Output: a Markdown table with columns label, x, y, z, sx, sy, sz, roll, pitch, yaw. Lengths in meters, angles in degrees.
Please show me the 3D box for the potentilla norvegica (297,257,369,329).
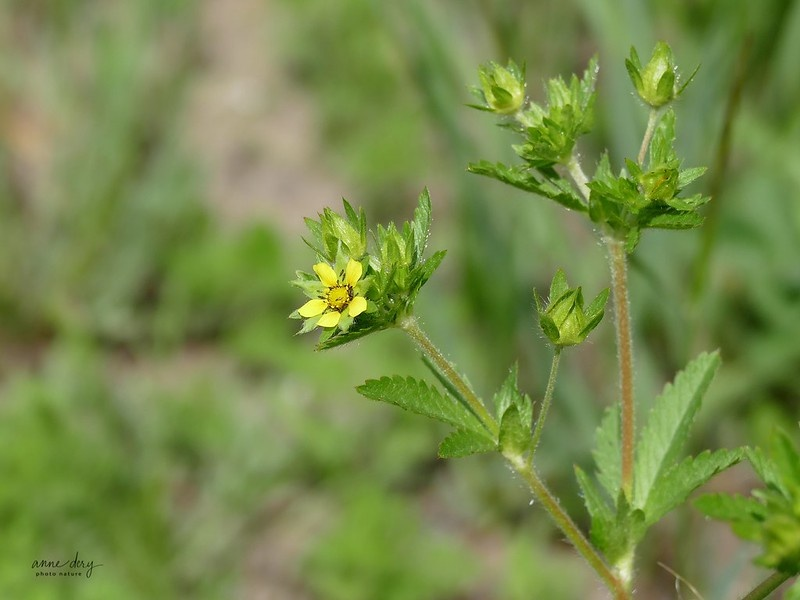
| label | x | y | z | sx | sy | sz | roll | pitch | yaw |
| --- | --- | --- | --- | --- | --- | --- | --- | --- | --- |
| potentilla norvegica | -0.199 | -0.054 | 2.585 | 0.181 | 0.072 | 0.190 | -26 | -18 | 14 |
